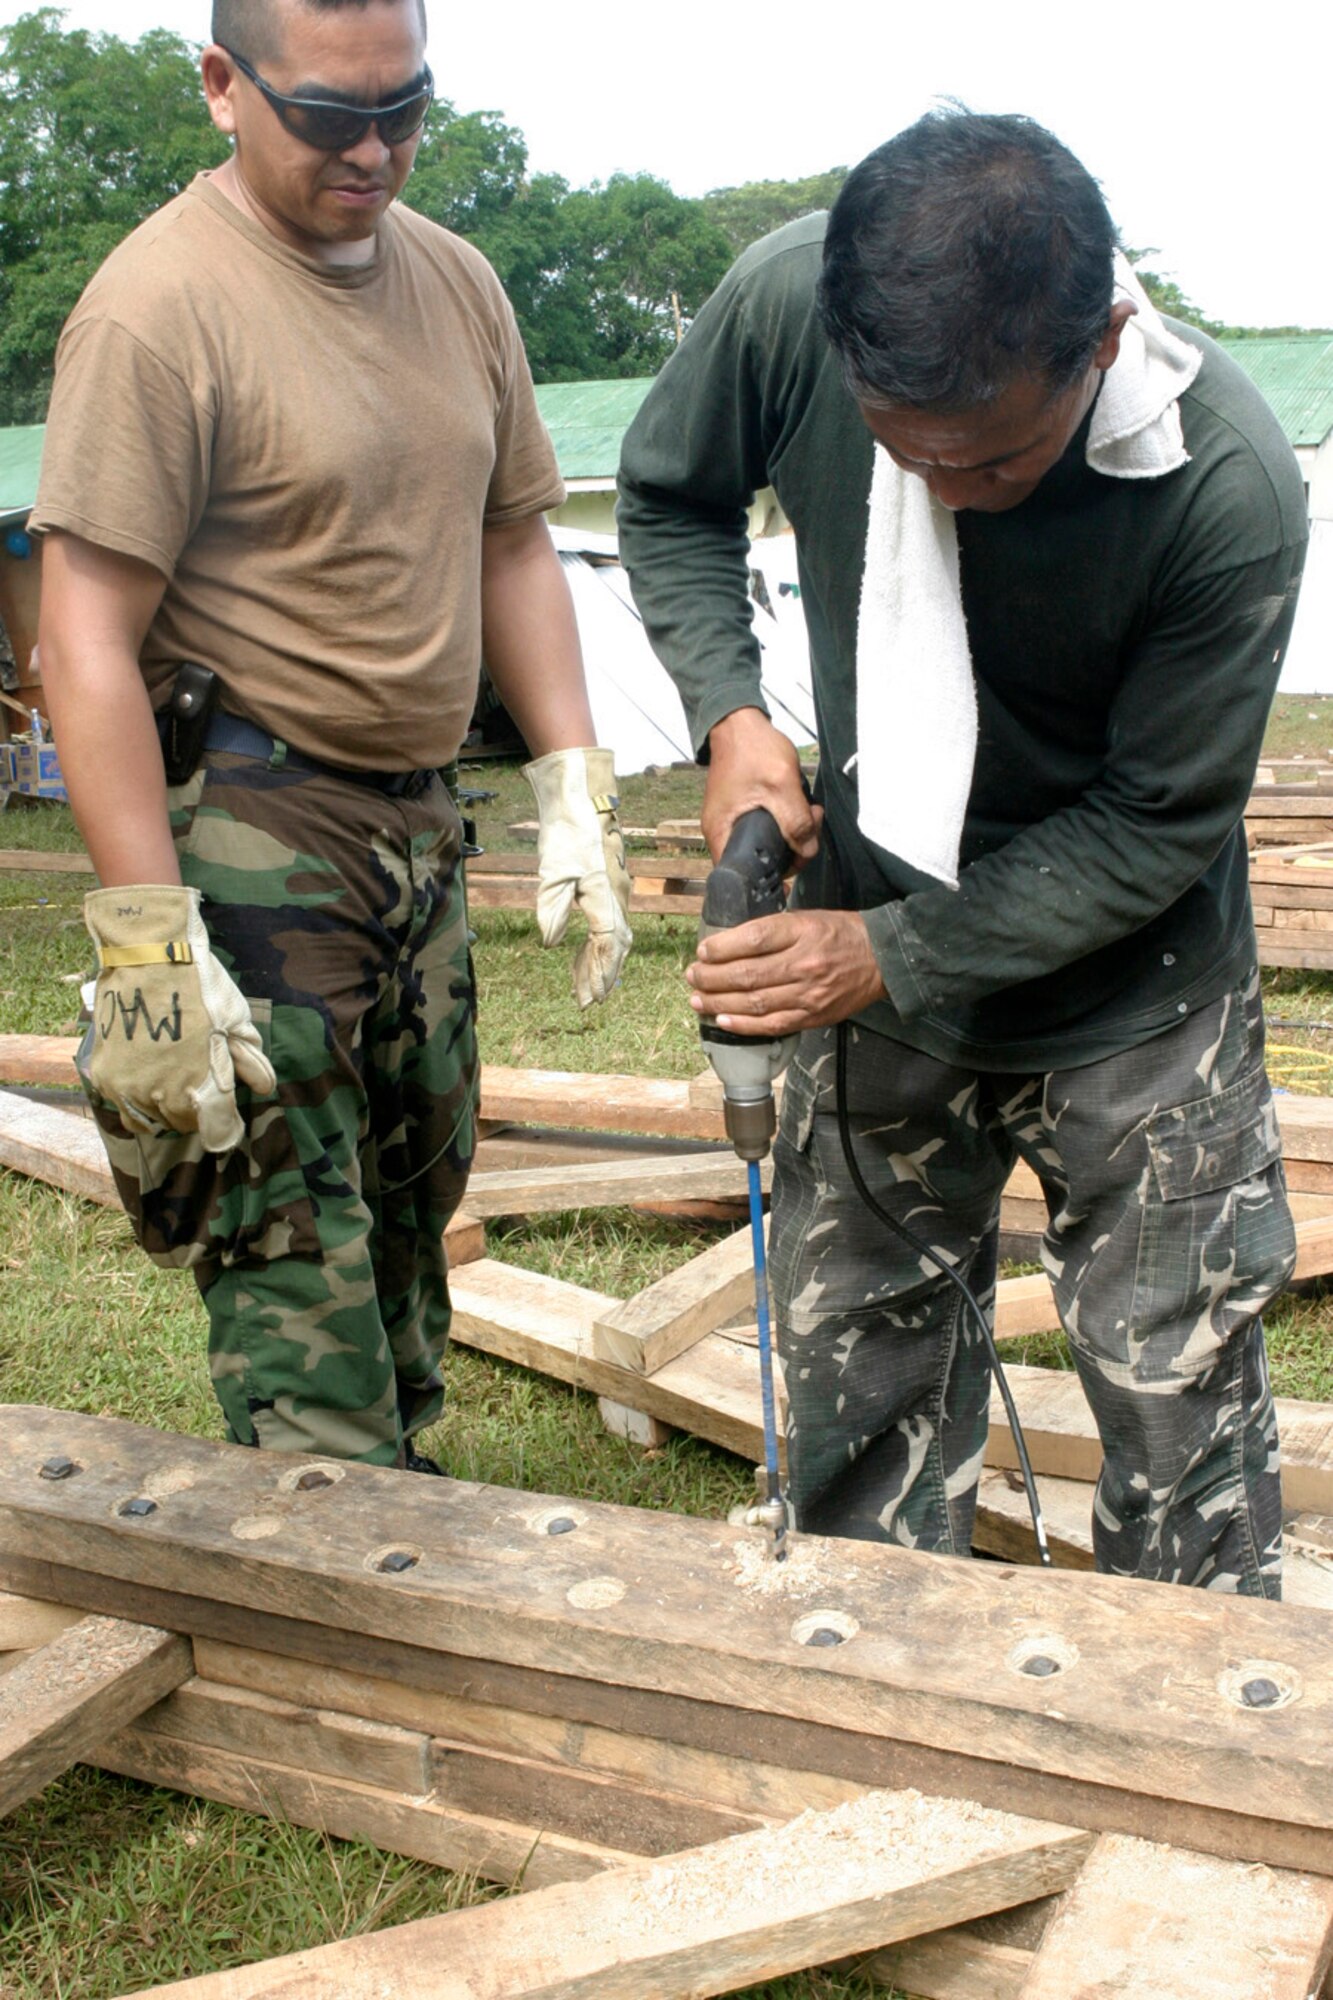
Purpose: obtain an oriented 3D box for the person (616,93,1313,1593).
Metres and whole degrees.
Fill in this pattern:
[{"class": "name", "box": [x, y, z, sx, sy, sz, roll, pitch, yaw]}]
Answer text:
[{"class": "person", "box": [0.377, -0.114, 2.193, 0.909, 1.852, 0.794, -1, 11, -1]}]
